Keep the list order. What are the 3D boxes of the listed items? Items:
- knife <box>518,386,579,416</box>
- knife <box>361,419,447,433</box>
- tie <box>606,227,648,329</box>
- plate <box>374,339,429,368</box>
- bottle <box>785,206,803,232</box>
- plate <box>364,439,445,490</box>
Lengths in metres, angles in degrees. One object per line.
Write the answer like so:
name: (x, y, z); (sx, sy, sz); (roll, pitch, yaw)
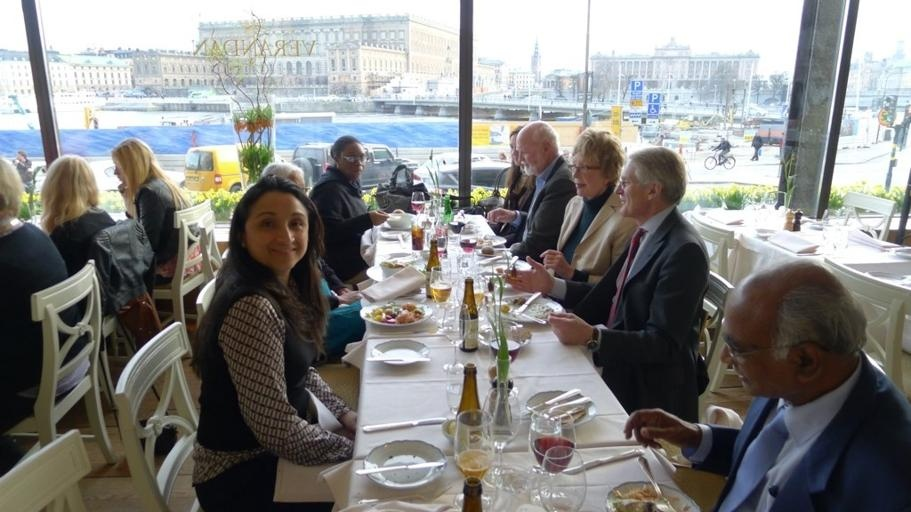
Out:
knife: (0.506, 0.751, 3.126); (0.194, 0.027, 0.134); (-14, 19, -14)
knife: (-0.262, 0.858, 3.048); (0.433, 0.060, 0.055); (-1, 16, -4)
tie: (1.119, 0.155, 3.834); (0.105, 0.754, 0.096); (-7, 38, -39)
plate: (-0.326, 0.556, 3.449); (0.182, 0.025, 0.172); (-6, 23, -18)
bottle: (3.166, -0.336, 5.540); (0.180, 0.268, 0.203); (4, 7, 42)
plate: (-0.237, 1.007, 2.874); (0.375, 0.056, 0.384); (-8, 20, -20)
